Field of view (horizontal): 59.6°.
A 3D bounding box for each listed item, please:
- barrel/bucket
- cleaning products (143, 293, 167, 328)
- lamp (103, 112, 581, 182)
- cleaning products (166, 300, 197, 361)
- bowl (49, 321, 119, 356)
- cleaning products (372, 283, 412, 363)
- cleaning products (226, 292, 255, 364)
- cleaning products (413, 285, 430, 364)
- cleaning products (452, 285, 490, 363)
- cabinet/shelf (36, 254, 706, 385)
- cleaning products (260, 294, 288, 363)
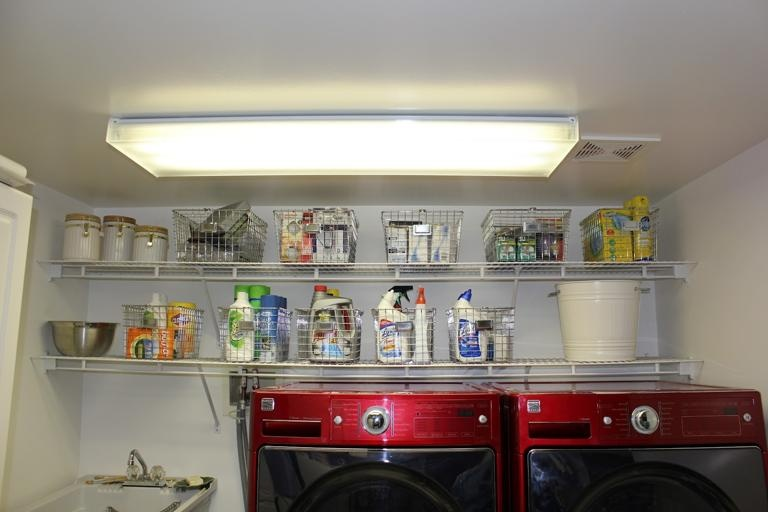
[{"bbox_3d":[1.092,0.327,3.356,0.447,0.330,0.395,0,-11,2],"label":"barrel/bucket"},{"bbox_3d":[-1.174,0.287,3.545,0.111,0.155,0.104,-4,4,1],"label":"cleaning products"},{"bbox_3d":[-0.179,-0.503,3.103,2.045,0.194,0.467,-1,-5,0],"label":"lamp"},{"bbox_3d":[-1.071,0.391,3.541,0.141,0.287,0.084,2,-6,-25],"label":"cleaning products"},{"bbox_3d":[-1.620,0.442,3.612,0.354,0.183,0.345,4,-5,0],"label":"bowl"},{"bbox_3d":[0.050,0.347,3.471,0.194,0.393,0.246,-1,-6,2],"label":"cleaning products"},{"bbox_3d":[-0.739,0.353,3.443,0.139,0.367,0.153,1,-6,-20],"label":"cleaning products"},{"bbox_3d":[0.191,0.374,3.428,0.086,0.323,0.038,0,-6,-3],"label":"cleaning products"},{"bbox_3d":[0.435,0.387,3.617,0.272,0.477,0.283,-1,-6,6],"label":"cleaning products"},{"bbox_3d":[-0.091,0.298,3.784,3.530,0.644,0.477,1,-4,3],"label":"cabinet/shelf"},{"bbox_3d":[-0.576,0.375,3.472,0.189,0.323,0.340,-1,-5,0],"label":"cleaning products"}]
